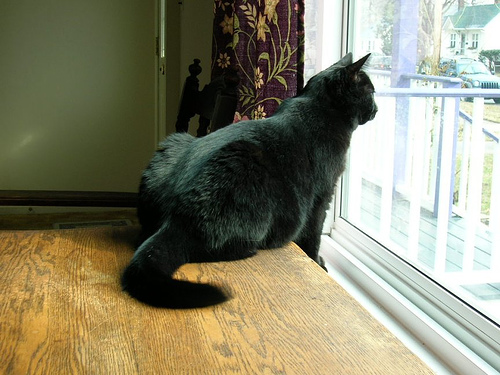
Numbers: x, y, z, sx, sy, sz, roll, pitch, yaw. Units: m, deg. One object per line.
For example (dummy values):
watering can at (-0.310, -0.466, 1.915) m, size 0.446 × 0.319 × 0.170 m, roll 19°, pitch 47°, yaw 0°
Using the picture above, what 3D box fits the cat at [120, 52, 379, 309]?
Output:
cat at (0.033, -0.049, 1.181) m, size 0.870 × 0.635 × 0.562 m, roll -12°, pitch 16°, yaw -33°

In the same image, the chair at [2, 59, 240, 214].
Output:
chair at (-0.395, -0.199, 1.616) m, size 0.843 × 0.505 × 0.470 m, roll -2°, pitch 6°, yaw -9°
